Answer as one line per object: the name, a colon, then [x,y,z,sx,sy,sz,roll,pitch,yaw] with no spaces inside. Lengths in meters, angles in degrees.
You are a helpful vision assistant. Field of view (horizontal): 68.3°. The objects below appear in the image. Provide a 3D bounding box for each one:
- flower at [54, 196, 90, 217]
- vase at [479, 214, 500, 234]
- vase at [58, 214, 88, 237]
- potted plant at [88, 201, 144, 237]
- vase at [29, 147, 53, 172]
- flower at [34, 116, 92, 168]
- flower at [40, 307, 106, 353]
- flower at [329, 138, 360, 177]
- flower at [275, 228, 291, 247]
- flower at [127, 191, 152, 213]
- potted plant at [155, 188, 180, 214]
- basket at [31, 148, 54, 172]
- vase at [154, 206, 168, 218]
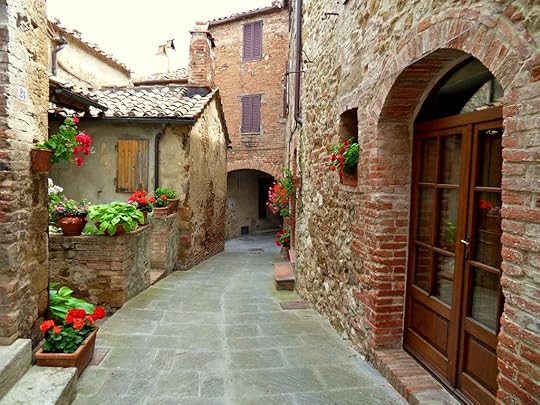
flower: [-3.045,0.050,6.154,0.416,0.186,0.416,1,-4,22]
vase: [1.642,0.146,2.971,0.109,0.089,0.123,2,-2,34]
vase: [-2.735,0.311,5.580,0.295,0.204,0.292,1,2,14]
potted plant: [-2.169,0.216,5.613,0.688,0.429,0.549,-1,4,-24]
vase: [-2.158,-0.391,3.816,0.165,0.222,0.231,0,4,-10]
flower: [-2.087,-0.581,4.008,0.349,0.549,0.619,0,4,-9]
flower: [-1.923,1.220,3.823,0.320,0.206,0.577,0,7,-5]
flower: [0.828,-0.497,4.476,0.228,0.406,0.573,0,4,-4]
flower: [0.400,0.959,10.783,0.458,0.417,0.349,2,4,23]
flower: [-2.368,-0.026,7.268,0.452,0.372,0.447,10,1,2]
potted plant: [-2.103,-0.042,8.134,0.503,0.487,0.498,1,3,13]
basket: [-2.134,-0.392,3.729,0.182,0.166,0.194,1,-5,-9]
vase: [-2.142,0.184,7.894,0.200,0.114,0.198,-5,-6,30]
